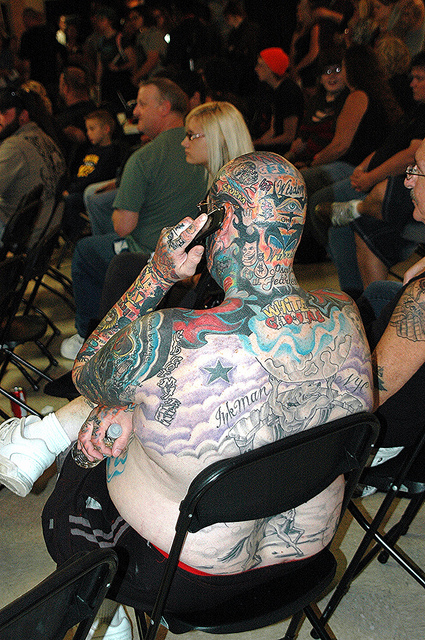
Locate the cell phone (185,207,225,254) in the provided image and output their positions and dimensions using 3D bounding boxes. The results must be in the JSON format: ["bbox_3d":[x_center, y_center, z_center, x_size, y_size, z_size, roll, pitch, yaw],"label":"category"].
[{"bbox_3d":[-0.013,-0.159,0.916,0.018,0.041,0.071,41,90,-22],"label":"cell phone"}]

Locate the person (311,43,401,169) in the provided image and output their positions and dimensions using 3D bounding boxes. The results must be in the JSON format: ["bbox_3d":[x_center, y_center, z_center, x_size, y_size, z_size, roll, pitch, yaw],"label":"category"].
[{"bbox_3d":[0.718,-1.205,2.759,0.475,0.768,0.483,11,48,19],"label":"person"}]

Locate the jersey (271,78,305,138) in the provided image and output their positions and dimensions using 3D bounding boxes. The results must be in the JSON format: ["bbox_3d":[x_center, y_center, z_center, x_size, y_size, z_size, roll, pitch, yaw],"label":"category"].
[{"bbox_3d":[0.488,-1.357,3.300,0.169,0.363,0.380,-11,33,-7],"label":"jersey"}]

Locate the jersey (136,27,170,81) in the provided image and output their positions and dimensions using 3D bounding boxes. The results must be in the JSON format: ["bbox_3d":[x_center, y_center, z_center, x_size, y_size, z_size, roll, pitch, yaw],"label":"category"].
[{"bbox_3d":[-0.562,-2.424,4.730,0.426,0.401,0.202,26,58,13],"label":"jersey"}]

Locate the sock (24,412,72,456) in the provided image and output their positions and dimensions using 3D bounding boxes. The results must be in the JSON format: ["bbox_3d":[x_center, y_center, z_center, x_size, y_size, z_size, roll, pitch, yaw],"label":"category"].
[{"bbox_3d":[-0.378,0.263,1.181,0.081,0.061,0.076,-26,61,-21],"label":"sock"}]

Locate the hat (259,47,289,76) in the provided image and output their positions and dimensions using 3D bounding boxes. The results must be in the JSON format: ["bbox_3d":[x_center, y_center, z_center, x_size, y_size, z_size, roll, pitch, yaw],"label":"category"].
[{"bbox_3d":[0.405,-1.663,3.323,0.059,0.191,0.217,-20,33,-27],"label":"hat"}]

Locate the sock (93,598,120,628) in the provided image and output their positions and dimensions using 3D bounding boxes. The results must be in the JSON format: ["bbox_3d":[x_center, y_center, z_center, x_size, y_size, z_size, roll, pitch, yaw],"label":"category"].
[{"bbox_3d":[-0.268,0.759,1.353,0.066,0.218,0.080,-2,56,-6],"label":"sock"}]

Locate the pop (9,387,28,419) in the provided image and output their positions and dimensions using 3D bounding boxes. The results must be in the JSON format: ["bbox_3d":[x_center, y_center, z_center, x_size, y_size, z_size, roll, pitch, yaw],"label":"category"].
[{"bbox_3d":[-0.841,0.361,2.240,0.060,0.231,0.054,-17,62,-11],"label":"pop"}]

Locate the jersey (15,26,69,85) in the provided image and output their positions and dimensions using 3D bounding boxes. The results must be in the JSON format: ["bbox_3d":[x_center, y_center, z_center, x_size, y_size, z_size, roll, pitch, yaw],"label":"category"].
[{"bbox_3d":[-1.637,-2.537,4.995,0.318,0.405,0.465,36,60,19],"label":"jersey"}]

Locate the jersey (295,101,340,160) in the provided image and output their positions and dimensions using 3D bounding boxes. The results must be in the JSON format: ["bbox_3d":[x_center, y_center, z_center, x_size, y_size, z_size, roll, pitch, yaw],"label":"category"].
[{"bbox_3d":[0.584,-1.101,2.990,0.094,0.384,0.324,-10,57,-10],"label":"jersey"}]

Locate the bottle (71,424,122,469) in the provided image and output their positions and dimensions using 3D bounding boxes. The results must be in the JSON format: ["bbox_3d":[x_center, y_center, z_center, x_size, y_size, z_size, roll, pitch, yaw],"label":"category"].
[{"bbox_3d":[-0.216,0.247,1.050,0.073,0.133,0.027,54,24,-8],"label":"bottle"}]

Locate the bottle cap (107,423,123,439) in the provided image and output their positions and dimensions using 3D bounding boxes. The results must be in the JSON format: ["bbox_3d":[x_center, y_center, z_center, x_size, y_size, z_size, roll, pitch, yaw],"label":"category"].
[{"bbox_3d":[-0.185,0.210,0.988,0.028,0.007,0.027,-33,96,10],"label":"bottle cap"}]
